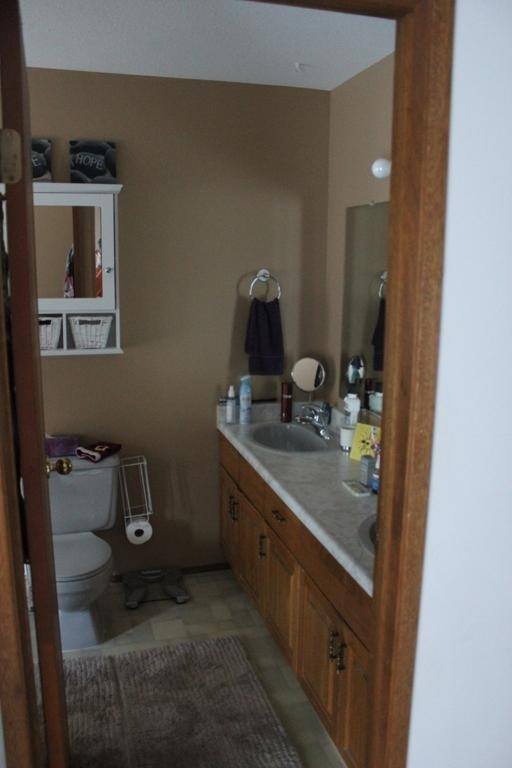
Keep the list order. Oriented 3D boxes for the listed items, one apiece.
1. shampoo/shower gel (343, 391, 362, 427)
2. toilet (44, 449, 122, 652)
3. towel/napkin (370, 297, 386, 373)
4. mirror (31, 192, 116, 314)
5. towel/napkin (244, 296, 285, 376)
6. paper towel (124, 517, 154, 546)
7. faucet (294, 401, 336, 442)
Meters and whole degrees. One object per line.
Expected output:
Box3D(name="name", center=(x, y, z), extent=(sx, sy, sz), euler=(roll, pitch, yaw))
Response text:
Box3D(name="shampoo/shower gel", center=(0.389, 0.102, 2.512), extent=(0.056, 0.119, 0.084), euler=(2, 9, 14))
Box3D(name="toilet", center=(-0.697, 0.699, 2.597), extent=(0.285, 0.723, 0.435), euler=(-3, 9, -19))
Box3D(name="towel/napkin", center=(0.508, -0.222, 2.534), extent=(0.030, 0.347, 0.096), euler=(3, -6, 31))
Box3D(name="mirror", center=(-0.786, -0.568, 2.683), extent=(0.357, 0.538, 0.243), euler=(-4, 15, -23))
Box3D(name="towel/napkin", center=(0.042, -0.233, 2.980), extent=(0.179, 0.375, 0.052), euler=(-2, 26, -3))
Box3D(name="paper towel", center=(-0.528, 0.672, 2.837), extent=(0.104, 0.121, 0.088), euler=(0, 9, -1))
Box3D(name="faucet", center=(0.276, 0.169, 2.863), extent=(0.076, 0.110, 0.276), euler=(-4, 21, -13))
